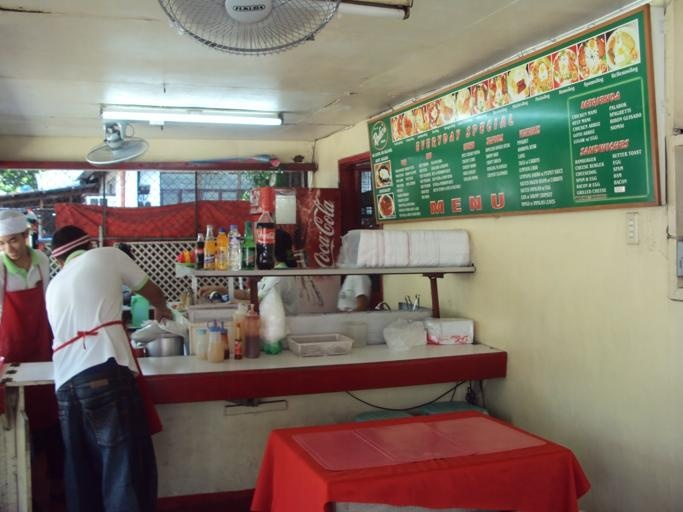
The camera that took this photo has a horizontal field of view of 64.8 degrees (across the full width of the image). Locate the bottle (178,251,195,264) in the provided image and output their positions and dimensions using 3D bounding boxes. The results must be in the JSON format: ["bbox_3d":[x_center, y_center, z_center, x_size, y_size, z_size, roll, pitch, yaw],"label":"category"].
[{"bbox_3d":[-1.661,0.021,5.754,0.094,0.124,0.095,1,16,0],"label":"bottle"}]

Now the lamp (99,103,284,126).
[{"bbox_3d":[-1.570,-1.490,5.652,1.798,0.243,0.432,-5,6,-10],"label":"lamp"}]

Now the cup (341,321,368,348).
[{"bbox_3d":[0.087,0.591,4.064,0.175,0.153,0.179,2,-3,0],"label":"cup"}]

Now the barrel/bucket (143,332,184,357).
[{"bbox_3d":[-1.296,0.661,3.927,0.204,0.202,0.191,6,-2,0],"label":"barrel/bucket"}]

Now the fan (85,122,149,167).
[{"bbox_3d":[-2.311,-1.169,5.499,0.591,0.330,0.603,12,32,28],"label":"fan"}]

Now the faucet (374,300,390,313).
[{"bbox_3d":[0.425,0.521,5.573,0.144,0.096,0.191,0,-9,3],"label":"faucet"}]

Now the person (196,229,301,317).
[{"bbox_3d":[-0.720,0.162,4.856,0.725,0.749,0.923,-1,7,20],"label":"person"}]

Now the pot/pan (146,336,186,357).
[{"bbox_3d":[-1.303,0.629,3.984,0.192,0.191,0.182,5,0,31],"label":"pot/pan"}]
